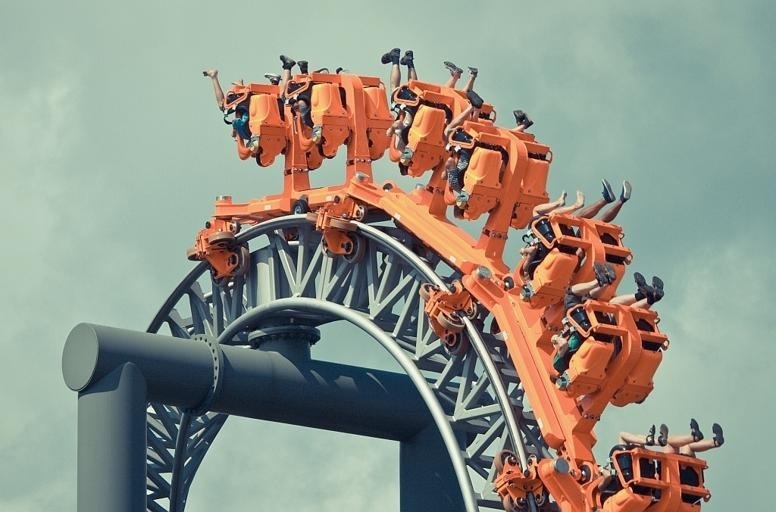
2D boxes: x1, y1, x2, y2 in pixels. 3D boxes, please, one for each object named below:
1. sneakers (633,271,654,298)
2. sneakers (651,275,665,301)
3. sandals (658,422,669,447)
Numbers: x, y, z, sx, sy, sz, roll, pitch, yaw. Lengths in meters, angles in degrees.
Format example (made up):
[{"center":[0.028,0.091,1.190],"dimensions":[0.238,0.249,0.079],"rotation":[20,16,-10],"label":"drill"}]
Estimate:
[{"center":[4.553,0.525,35.404],"dimensions":[0.171,0.485,0.207],"rotation":[-12,-30,-32],"label":"sneakers"},{"center":[4.856,0.573,35.912],"dimensions":[0.156,0.453,0.191],"rotation":[-2,-26,-18],"label":"sneakers"},{"center":[5.755,3.774,41.759],"dimensions":[0.185,0.452,0.254],"rotation":[-13,-27,29],"label":"sandals"}]
